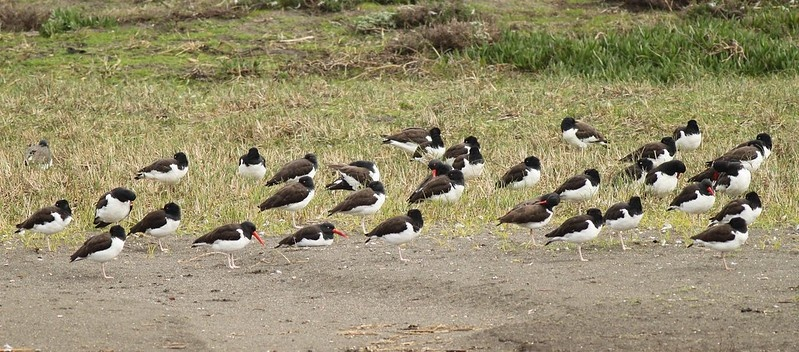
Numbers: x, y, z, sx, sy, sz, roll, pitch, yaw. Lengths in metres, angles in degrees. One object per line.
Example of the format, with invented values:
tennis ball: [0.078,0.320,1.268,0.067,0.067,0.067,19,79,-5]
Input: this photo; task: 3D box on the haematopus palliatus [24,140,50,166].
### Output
haematopus palliatus: [-13.680,-0.785,32.549,0.797,1.314,0.735,7,59,0]
